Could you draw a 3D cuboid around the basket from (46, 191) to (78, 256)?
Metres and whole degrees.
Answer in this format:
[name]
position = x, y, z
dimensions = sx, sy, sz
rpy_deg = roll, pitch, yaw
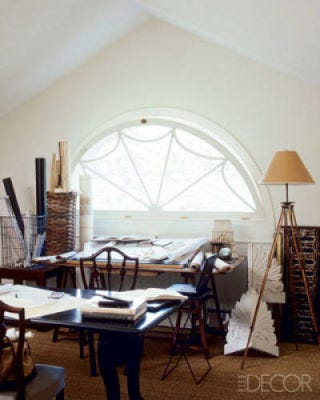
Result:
[basket]
position = -0.970, 0.235, 3.763
dimensions = 0.296, 0.627, 0.178
rpy_deg = -1, -1, -15

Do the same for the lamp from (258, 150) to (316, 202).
[lamp]
position = 1.004, -0.232, 3.125
dimensions = 0.466, 0.488, 0.427
rpy_deg = -7, 7, -41
